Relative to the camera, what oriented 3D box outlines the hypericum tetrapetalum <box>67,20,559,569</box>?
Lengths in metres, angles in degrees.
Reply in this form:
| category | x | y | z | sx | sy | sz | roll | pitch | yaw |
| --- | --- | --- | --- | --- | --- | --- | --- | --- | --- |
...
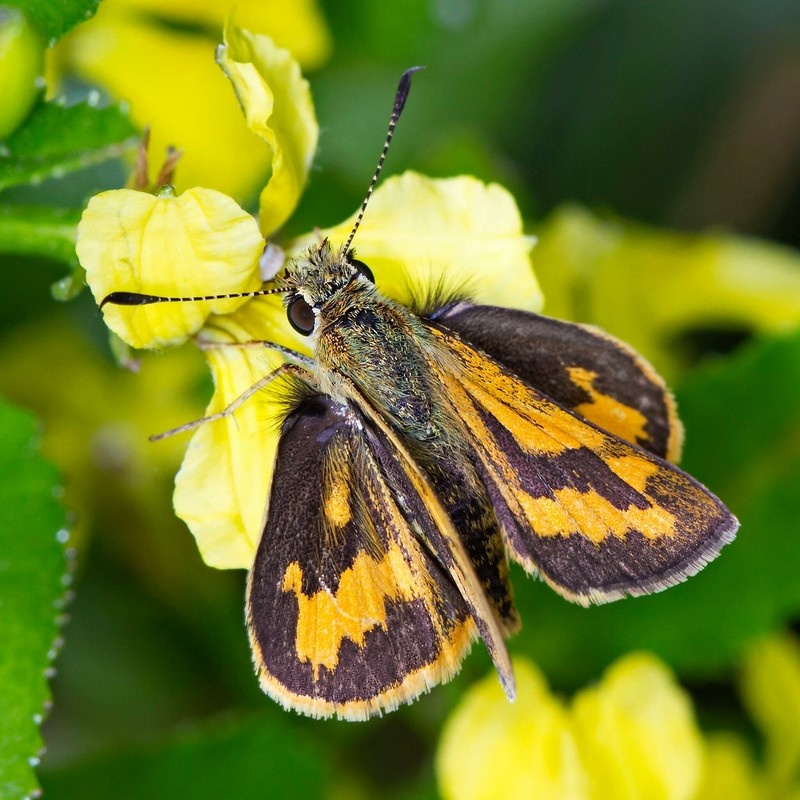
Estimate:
| category | x | y | z | sx | sy | sz | roll | pitch | yaw |
| --- | --- | --- | --- | --- | --- | --- | --- | --- | --- |
| hypericum tetrapetalum | -0.110 | -0.072 | 0.837 | 0.352 | 0.348 | 0.135 | 16 | 71 | 47 |
